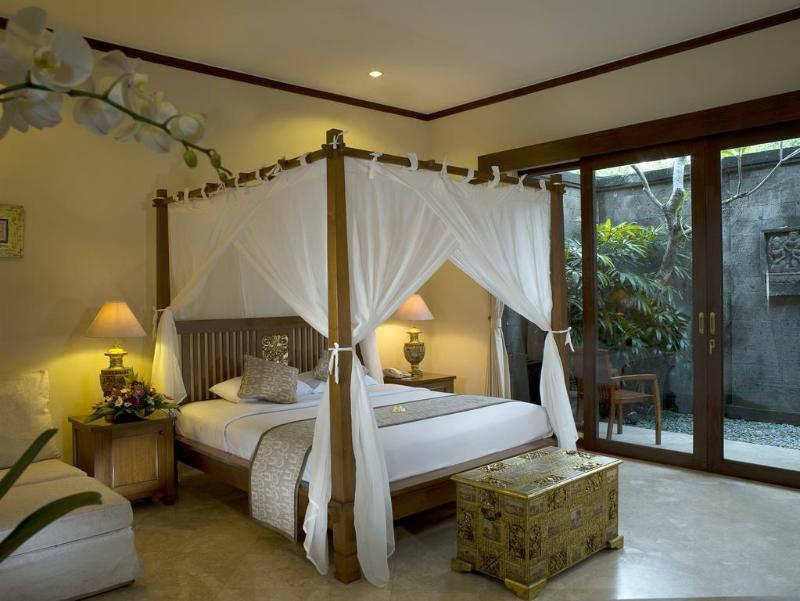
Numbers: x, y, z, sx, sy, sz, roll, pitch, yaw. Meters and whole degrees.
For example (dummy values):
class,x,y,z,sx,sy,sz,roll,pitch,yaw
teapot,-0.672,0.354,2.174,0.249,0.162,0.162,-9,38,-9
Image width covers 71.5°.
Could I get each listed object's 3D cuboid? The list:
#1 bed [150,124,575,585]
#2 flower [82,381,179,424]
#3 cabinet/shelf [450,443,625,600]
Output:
class,x,y,z,sx,sy,sz,roll,pitch,yaw
bed,0.035,-0.069,4.588,2.666,2.457,2.673,-7,7,-34
flower,-2.065,0.794,4.332,0.382,0.194,0.408,1,-1,11
cabinet/shelf,0.763,1.046,3.323,0.568,0.595,1.000,-1,0,43
